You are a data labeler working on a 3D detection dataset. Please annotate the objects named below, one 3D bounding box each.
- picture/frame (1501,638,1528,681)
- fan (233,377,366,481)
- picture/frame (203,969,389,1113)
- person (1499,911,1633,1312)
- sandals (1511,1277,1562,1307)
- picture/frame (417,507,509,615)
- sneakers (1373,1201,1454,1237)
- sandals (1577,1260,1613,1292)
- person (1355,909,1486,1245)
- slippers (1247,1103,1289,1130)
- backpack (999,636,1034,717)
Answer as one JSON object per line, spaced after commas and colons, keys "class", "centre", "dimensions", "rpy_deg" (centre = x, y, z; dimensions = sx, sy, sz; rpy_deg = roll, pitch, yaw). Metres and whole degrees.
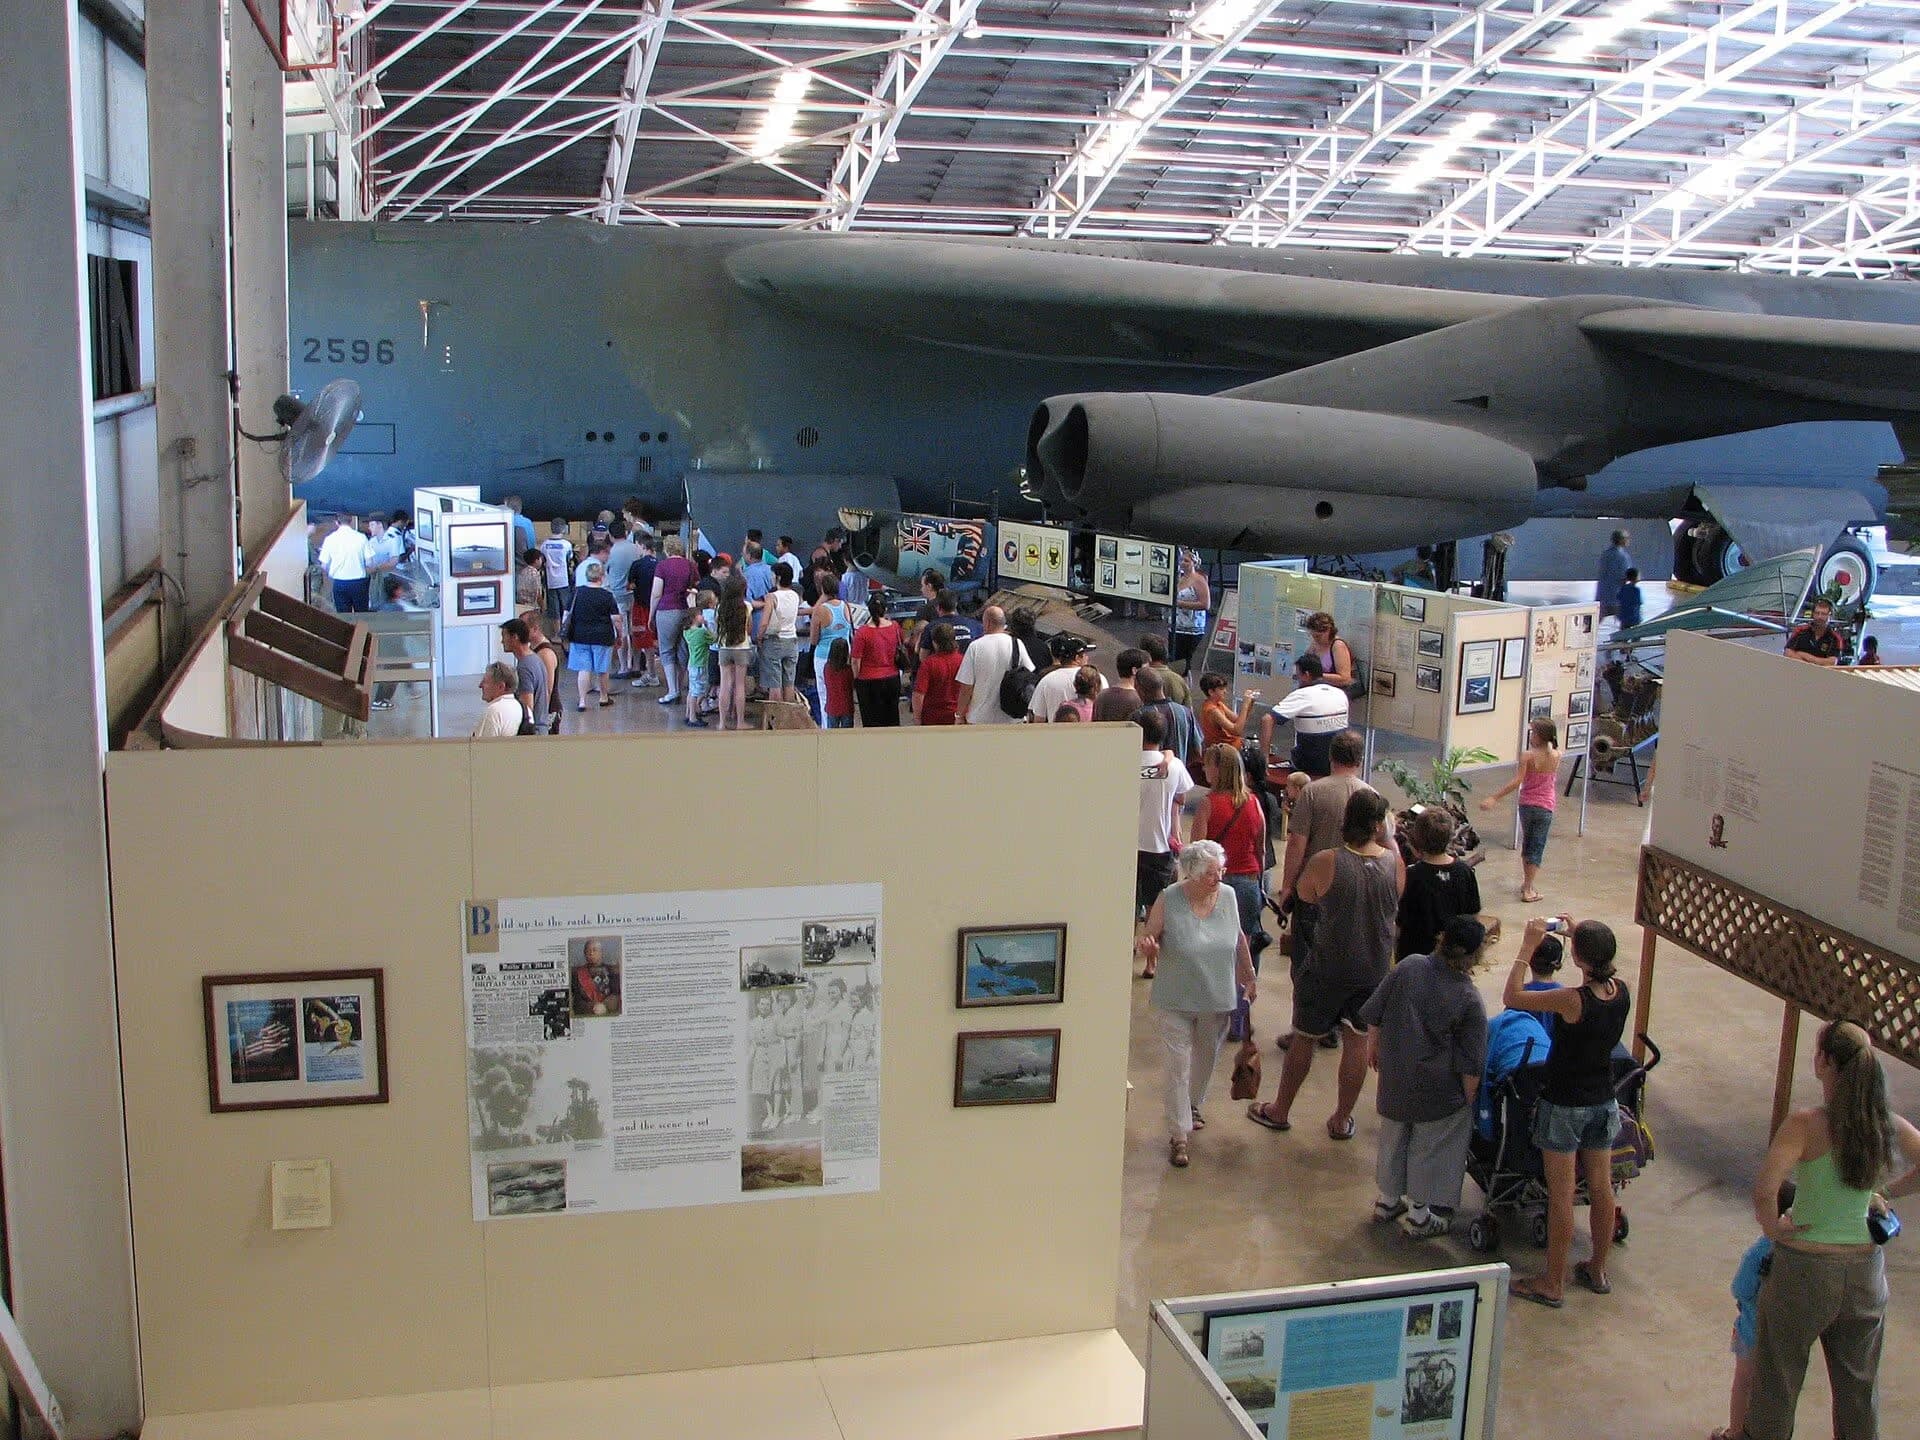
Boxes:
{"class": "picture/frame", "centre": [4.433, -0.513, 11.754], "dimensions": [0.290, 0.325, 0.035], "rpy_deg": [-7, 12, -39]}
{"class": "fan", "centre": [-4.109, -1.947, 9.158], "dimensions": [0.613, 0.551, 0.506], "rpy_deg": [-2, -2, 22]}
{"class": "picture/frame", "centre": [-2.332, 1.095, 5.090], "dimensions": [0.469, 0.423, 0.022], "rpy_deg": [-2, 3, -15]}
{"class": "person", "centre": [2.702, 1.731, 6.507], "dimensions": [0.503, 1.732, 0.371], "rpy_deg": [-1, 4, 3]}
{"class": "sandals", "centre": [2.579, 2.566, 6.559], "dimensions": [0.208, 0.087, 0.091], "rpy_deg": [17, 14, 37]}
{"class": "picture/frame", "centre": [-4.822, -1.562, 14.468], "dimensions": [0.915, 1.409, 0.981], "rpy_deg": [-1, 12, -16]}
{"class": "sneakers", "centre": [2.171, 2.364, 7.029], "dimensions": [0.359, 0.175, 0.150], "rpy_deg": [2, 6, 4]}
{"class": "sandals", "centre": [2.874, 2.527, 6.642], "dimensions": [0.075, 0.063, 0.182], "rpy_deg": [1, 16, -2]}
{"class": "person", "centre": [2.176, 1.670, 6.871], "dimensions": [0.520, 1.588, 0.350], "rpy_deg": [0, 4, 18]}
{"class": "slippers", "centre": [1.653, 2.123, 7.905], "dimensions": [0.101, 0.067, 0.174], "rpy_deg": [2, 7, -33]}
{"class": "backpack", "centre": [0.463, -0.323, 10.992], "dimensions": [0.197, 0.578, 0.407], "rpy_deg": [2, 6, 40]}
